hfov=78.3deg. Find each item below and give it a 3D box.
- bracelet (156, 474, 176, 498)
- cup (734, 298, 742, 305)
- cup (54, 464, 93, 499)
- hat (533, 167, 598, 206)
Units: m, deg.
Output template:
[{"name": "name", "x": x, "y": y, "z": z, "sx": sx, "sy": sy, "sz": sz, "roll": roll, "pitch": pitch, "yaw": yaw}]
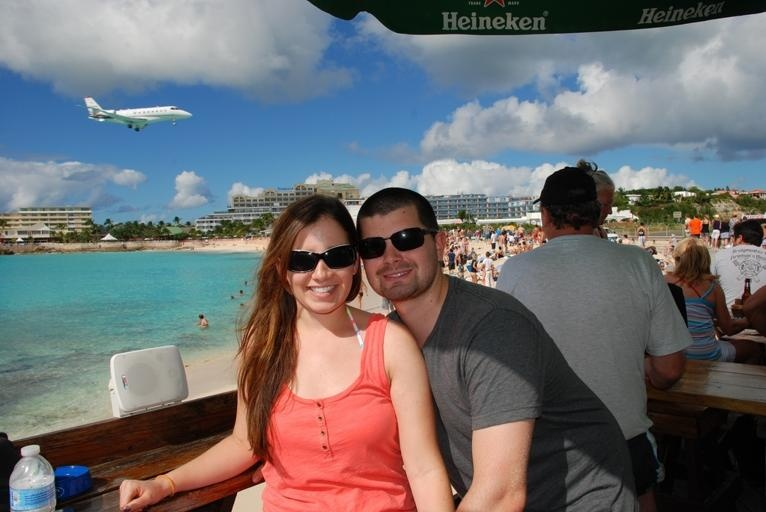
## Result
[{"name": "bracelet", "x": -1.201, "y": 1.280, "z": 2.610, "sx": 0.096, "sy": 0.113, "sz": 0.045, "roll": -2, "pitch": -11, "yaw": -33}, {"name": "cup", "x": 5.110, "y": 0.662, "z": 6.781, "sx": 0.077, "sy": 0.057, "sz": 0.079, "roll": -2, "pitch": -1, "yaw": 0}, {"name": "cup", "x": -1.756, "y": 1.272, "z": 2.645, "sx": 0.170, "sy": 0.153, "sz": 0.192, "roll": 1, "pitch": -14, "yaw": -45}, {"name": "hat", "x": 1.482, "y": -0.525, "z": 3.585, "sx": 0.535, "sy": 0.296, "sz": 0.397, "roll": 10, "pitch": 25, "yaw": 23}]
